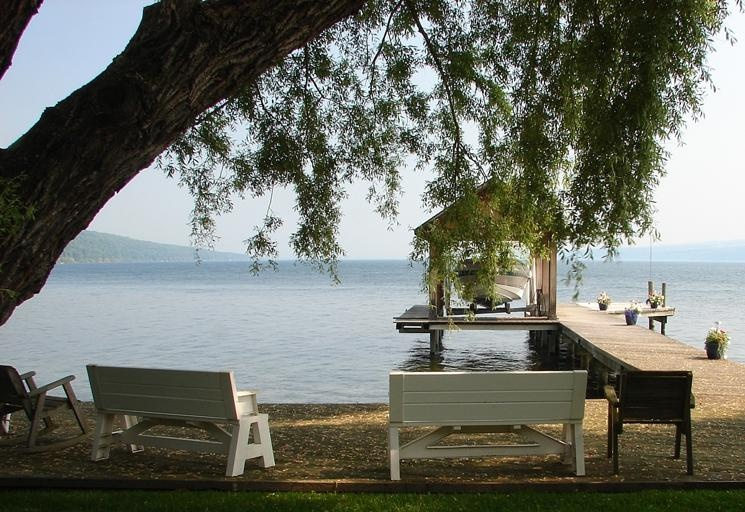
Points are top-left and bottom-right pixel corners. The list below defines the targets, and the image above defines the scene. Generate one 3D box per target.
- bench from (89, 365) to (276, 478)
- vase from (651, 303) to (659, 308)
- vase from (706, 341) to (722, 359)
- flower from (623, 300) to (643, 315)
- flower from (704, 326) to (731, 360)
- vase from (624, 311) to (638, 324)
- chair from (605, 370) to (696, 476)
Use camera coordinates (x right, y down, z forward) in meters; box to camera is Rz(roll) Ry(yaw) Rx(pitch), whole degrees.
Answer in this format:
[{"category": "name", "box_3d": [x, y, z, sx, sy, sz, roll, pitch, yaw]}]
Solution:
[{"category": "bench", "box_3d": [-2.183, 1.794, 7.112, 1.935, 1.149, 0.855, -2, -4, 24]}, {"category": "vase", "box_3d": [11.524, 2.017, 25.922, 0.206, 0.161, 0.208, 1, -2, 29]}, {"category": "vase", "box_3d": [7.791, 2.145, 14.424, 0.385, 0.298, 0.374, -1, 2, -39]}, {"category": "flower", "box_3d": [9.838, 1.937, 23.987, 0.818, 0.648, 0.781, -2, 1, 13]}, {"category": "flower", "box_3d": [7.897, 1.916, 14.577, 0.555, 0.675, 0.498, -10, 16, -43]}, {"category": "vase", "box_3d": [8.324, 1.968, 20.402, 0.482, 0.403, 0.487, 1, -6, -16]}, {"category": "chair", "box_3d": [3.046, 1.797, 7.022, 0.881, 1.125, 0.907, 0, -3, 8]}]
